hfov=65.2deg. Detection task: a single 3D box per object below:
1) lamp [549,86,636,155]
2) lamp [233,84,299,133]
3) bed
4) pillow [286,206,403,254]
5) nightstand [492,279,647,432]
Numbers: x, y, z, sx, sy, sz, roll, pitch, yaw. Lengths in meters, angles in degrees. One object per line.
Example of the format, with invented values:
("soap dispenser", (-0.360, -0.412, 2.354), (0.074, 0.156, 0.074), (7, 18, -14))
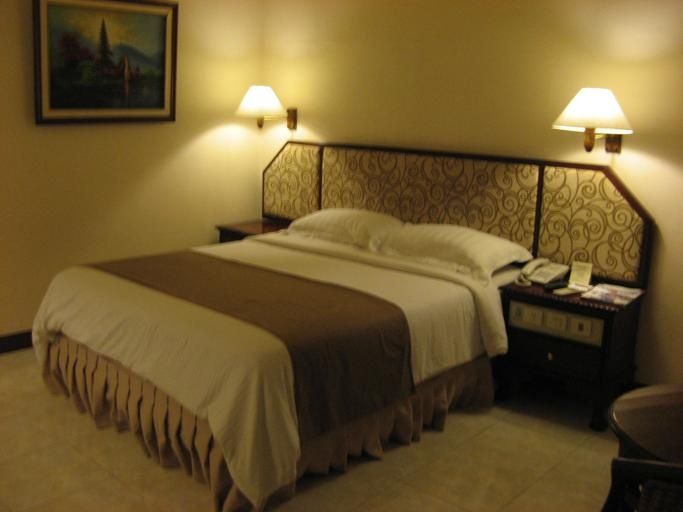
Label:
("lamp", (1.576, -0.849, 3.362), (0.485, 0.418, 0.489), (1, 10, -25))
("lamp", (-0.676, -1.287, 4.757), (0.345, 0.362, 0.503), (9, 15, 33))
("bed", (-0.004, 0.264, 3.262), (2.363, 1.294, 2.628), (-12, 22, -38))
("pillow", (0.006, -0.225, 4.135), (0.547, 0.165, 0.428), (12, 19, 42))
("nightstand", (1.423, 0.587, 3.458), (0.468, 0.763, 0.705), (-8, 13, -44))
